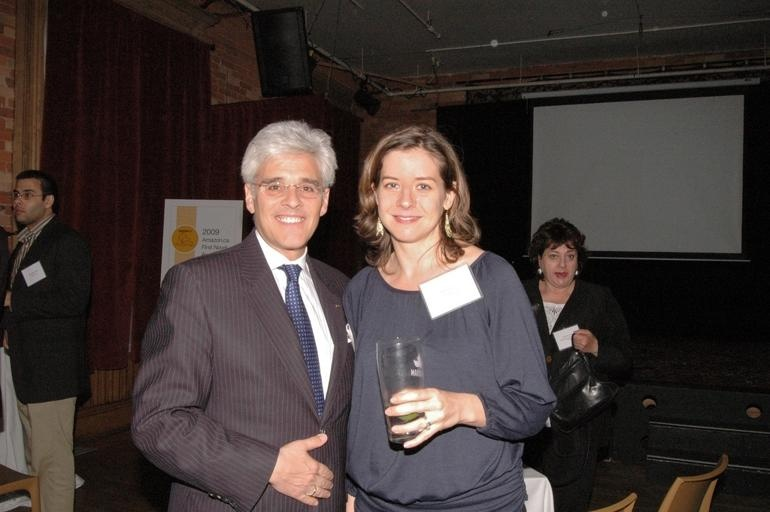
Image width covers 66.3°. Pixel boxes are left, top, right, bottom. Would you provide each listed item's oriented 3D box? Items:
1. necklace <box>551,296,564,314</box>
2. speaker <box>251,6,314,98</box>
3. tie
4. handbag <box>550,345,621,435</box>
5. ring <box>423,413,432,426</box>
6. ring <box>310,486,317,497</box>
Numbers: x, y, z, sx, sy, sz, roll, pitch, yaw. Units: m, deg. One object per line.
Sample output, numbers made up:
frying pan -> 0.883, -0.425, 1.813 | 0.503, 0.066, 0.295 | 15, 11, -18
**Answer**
necklace -> 1.411, 0.414, 4.794 | 0.115, 0.029, 0.120 | 11, 57, 42
speaker -> -1.199, -2.378, 6.896 | 0.671, 0.969, 0.359 | -1, 7, -13
tie -> -0.501, 0.422, 3.409 | 0.157, 0.981, 0.131 | -5, -18, -19
handbag -> 1.487, 0.983, 4.394 | 0.228, 0.617, 0.551 | 34, 30, -12
ring -> 0.216, 0.827, 2.981 | 0.038, 0.053, 0.014 | -20, -1, 31
ring -> -0.372, 1.252, 3.127 | 0.044, 0.062, 0.014 | 0, 7, -3
